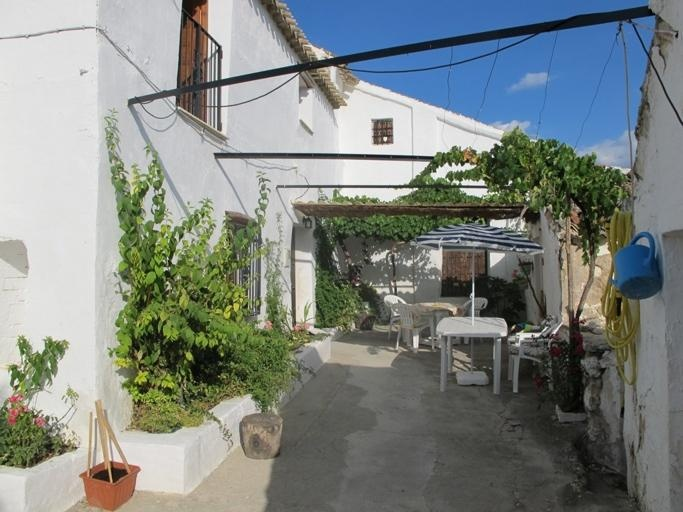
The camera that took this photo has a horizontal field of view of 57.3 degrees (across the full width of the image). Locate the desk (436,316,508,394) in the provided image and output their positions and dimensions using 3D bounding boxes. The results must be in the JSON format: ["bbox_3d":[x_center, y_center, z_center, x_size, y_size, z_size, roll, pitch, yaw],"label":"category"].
[{"bbox_3d":[1.972,1.486,9.660,0.793,0.905,1.307,0,-2,9],"label":"desk"}]

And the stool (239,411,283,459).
[{"bbox_3d":[-0.925,2.028,7.179,0.392,0.370,0.443,0,2,10],"label":"stool"}]

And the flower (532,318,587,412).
[{"bbox_3d":[2.858,1.453,8.246,0.659,1.174,0.505,-1,-10,4],"label":"flower"}]

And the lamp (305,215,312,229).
[{"bbox_3d":[-0.726,-0.759,13.706,0.135,0.250,0.335,1,7,9],"label":"lamp"}]

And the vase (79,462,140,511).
[{"bbox_3d":[-2.291,2.261,6.145,0.374,0.352,0.458,3,4,25],"label":"vase"}]

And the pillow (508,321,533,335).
[{"bbox_3d":[3.576,1.436,12.519,0.412,0.245,0.590,-2,-3,40],"label":"pillow"}]

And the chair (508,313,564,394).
[{"bbox_3d":[2.997,1.462,9.592,0.859,1.479,0.961,-1,-3,1],"label":"chair"}]
